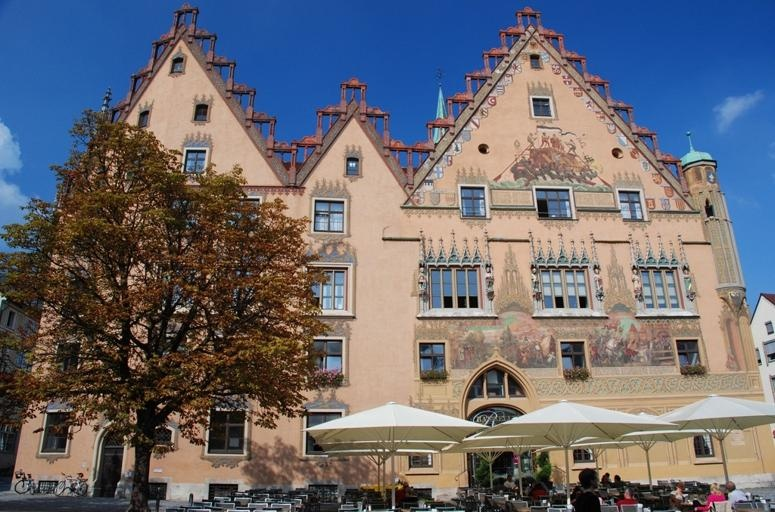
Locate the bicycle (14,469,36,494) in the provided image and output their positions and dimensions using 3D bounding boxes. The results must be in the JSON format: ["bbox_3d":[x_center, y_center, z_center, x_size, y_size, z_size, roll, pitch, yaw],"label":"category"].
[{"bbox_3d":[-19.259,11.988,37.143,1.229,1.225,0.477,-1,-23,1],"label":"bicycle"}]

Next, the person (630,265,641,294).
[{"bbox_3d":[14.449,1.437,40.879,0.516,1.857,0.258,-8,-24,17],"label":"person"}]

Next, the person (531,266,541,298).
[{"bbox_3d":[8.542,1.513,40.488,0.524,2.049,0.324,0,-23,-1],"label":"person"}]

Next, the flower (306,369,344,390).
[{"bbox_3d":[-3.250,6.447,37.496,1.861,1.060,1.852,-2,3,2],"label":"flower"}]

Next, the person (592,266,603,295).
[{"bbox_3d":[12.279,1.487,40.734,0.597,1.945,0.291,11,-25,-25],"label":"person"}]

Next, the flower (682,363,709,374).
[{"bbox_3d":[17.150,6.425,39.654,0.743,0.461,0.788,-2,2,4],"label":"flower"}]

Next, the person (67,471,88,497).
[{"bbox_3d":[-16.335,12.163,37.083,0.761,1.283,0.624,13,-15,-9],"label":"person"}]

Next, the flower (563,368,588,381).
[{"bbox_3d":[10.472,6.669,39.080,0.871,0.434,0.800,-10,-16,36],"label":"flower"}]

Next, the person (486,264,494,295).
[{"bbox_3d":[5.885,1.388,40.345,0.569,1.845,0.304,11,-25,-25],"label":"person"}]
